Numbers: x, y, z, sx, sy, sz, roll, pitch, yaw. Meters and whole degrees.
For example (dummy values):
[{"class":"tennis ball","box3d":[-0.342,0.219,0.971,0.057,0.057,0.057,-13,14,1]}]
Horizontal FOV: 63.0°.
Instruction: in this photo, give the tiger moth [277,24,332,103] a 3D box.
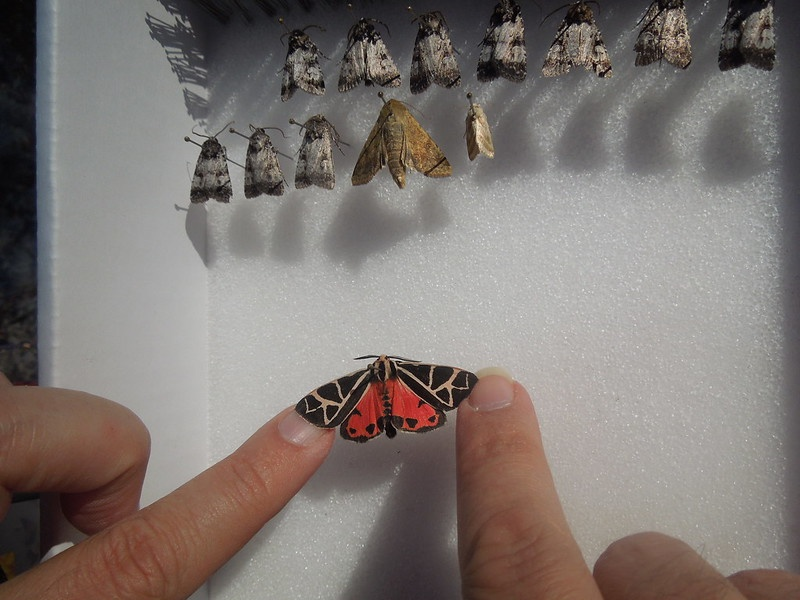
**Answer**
[{"class":"tiger moth","box3d":[-0.522,-1.277,3.552,0.229,0.367,0.267,1,14,-8]}]

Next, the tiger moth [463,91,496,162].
[{"class":"tiger moth","box3d":[0.412,-0.879,3.497,0.133,0.414,0.208,-7,-12,10]}]

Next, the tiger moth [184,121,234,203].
[{"class":"tiger moth","box3d":[-1.036,-0.722,3.592,0.200,0.462,0.197,0,-11,-6]}]

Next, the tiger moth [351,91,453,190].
[{"class":"tiger moth","box3d":[-0.012,-0.823,3.455,0.481,0.618,0.181,3,25,5]}]

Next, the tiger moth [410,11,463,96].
[{"class":"tiger moth","box3d":[0.154,-1.383,3.444,0.217,0.386,0.101,4,-26,-15]}]

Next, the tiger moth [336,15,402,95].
[{"class":"tiger moth","box3d":[-0.156,-1.295,3.445,0.326,0.372,0.167,5,13,7]}]

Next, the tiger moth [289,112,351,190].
[{"class":"tiger moth","box3d":[-0.451,-0.794,3.530,0.249,0.463,0.122,0,-15,12]}]

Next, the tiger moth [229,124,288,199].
[{"class":"tiger moth","box3d":[-0.757,-0.729,3.571,0.283,0.436,0.114,-2,1,7]}]
